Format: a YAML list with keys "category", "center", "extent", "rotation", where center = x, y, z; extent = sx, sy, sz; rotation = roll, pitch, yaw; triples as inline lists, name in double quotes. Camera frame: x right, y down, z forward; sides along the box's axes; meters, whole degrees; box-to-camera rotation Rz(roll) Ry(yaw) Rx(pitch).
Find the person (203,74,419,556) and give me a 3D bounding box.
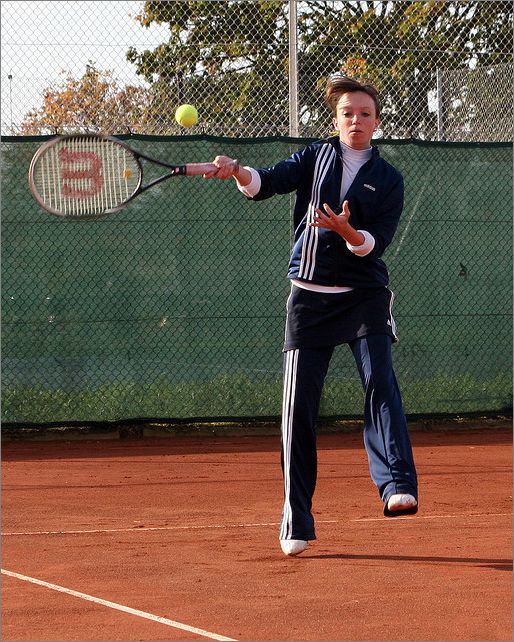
- category: "person"
  center: [0.270, -0.002, 2.896]
  extent: [0.652, 1.676, 0.534]
  rotation: [2, 7, 28]
